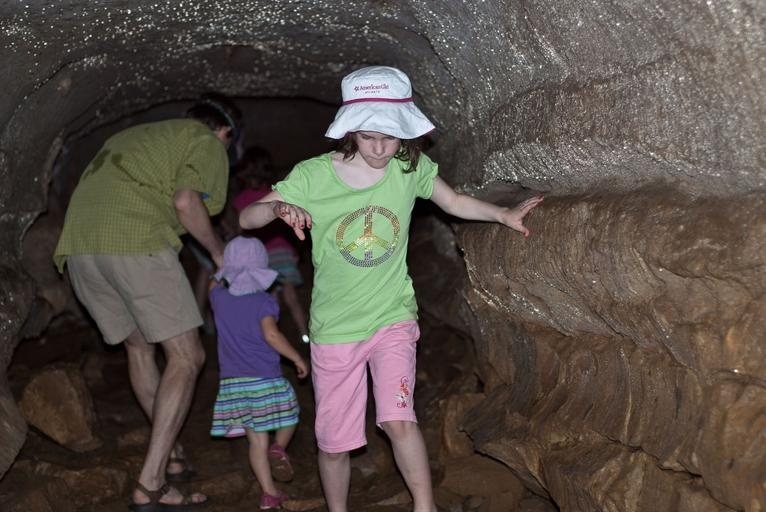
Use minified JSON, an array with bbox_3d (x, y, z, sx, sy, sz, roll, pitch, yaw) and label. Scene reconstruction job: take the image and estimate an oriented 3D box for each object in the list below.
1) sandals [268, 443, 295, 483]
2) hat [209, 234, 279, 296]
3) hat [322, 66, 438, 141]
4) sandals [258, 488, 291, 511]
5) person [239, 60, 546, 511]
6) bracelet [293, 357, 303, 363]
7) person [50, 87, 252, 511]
[{"bbox_3d":[-0.581,1.202,4.257,0.130,0.229,0.103,-18,19,2],"label":"sandals"},{"bbox_3d":[-0.757,0.066,4.077,0.325,0.246,0.332,1,32,-14],"label":"hat"},{"bbox_3d":[-0.020,-0.717,3.434,0.453,0.241,0.345,1,10,2],"label":"hat"},{"bbox_3d":[-0.631,1.405,4.206,0.195,0.084,0.077,-2,7,-28],"label":"sandals"},{"bbox_3d":[-0.070,0.185,3.571,1.007,2.202,0.395,1,1,3],"label":"person"},{"bbox_3d":[-0.475,0.578,4.051,0.061,0.027,0.081,6,-3,-5],"label":"bracelet"},{"bbox_3d":[-1.321,0.316,4.023,0.853,2.149,0.374,1,1,16],"label":"person"}]
